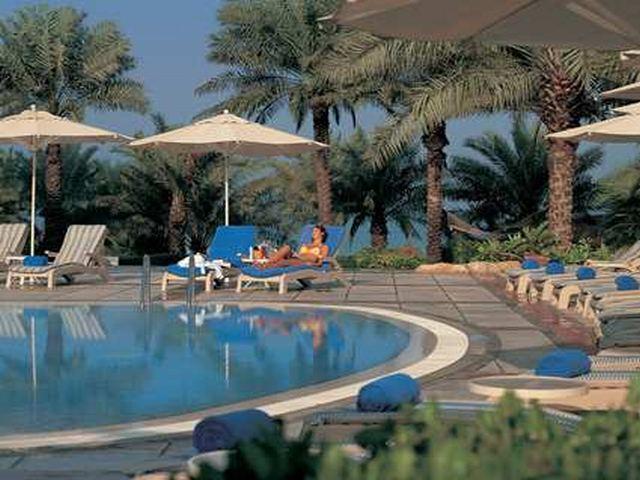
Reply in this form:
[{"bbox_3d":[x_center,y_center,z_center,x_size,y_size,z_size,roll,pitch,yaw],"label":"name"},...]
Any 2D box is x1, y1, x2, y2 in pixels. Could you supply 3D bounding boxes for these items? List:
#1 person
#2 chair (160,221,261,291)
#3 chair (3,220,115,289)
[{"bbox_3d":[-0.489,0.164,12.311,1.512,0.667,0.619,-9,15,-35],"label":"person"},{"bbox_3d":[-2.032,0.330,12.869,1.098,0.949,1.768,-1,9,27],"label":"chair"},{"bbox_3d":[-5.416,0.280,13.611,1.816,1.292,1.942,-2,-2,29],"label":"chair"}]
